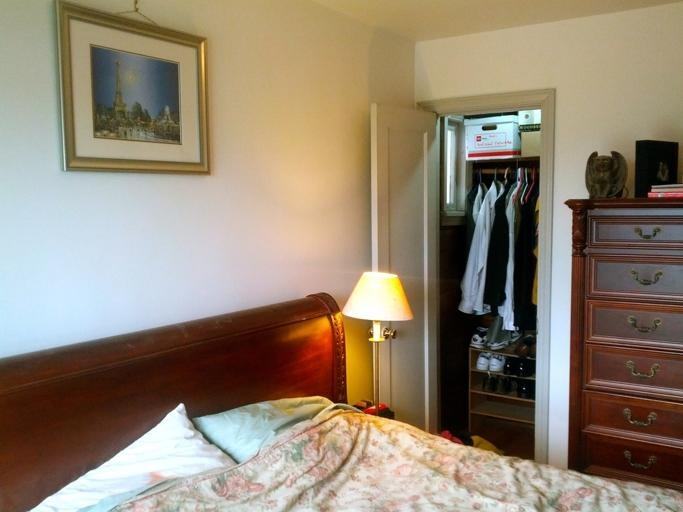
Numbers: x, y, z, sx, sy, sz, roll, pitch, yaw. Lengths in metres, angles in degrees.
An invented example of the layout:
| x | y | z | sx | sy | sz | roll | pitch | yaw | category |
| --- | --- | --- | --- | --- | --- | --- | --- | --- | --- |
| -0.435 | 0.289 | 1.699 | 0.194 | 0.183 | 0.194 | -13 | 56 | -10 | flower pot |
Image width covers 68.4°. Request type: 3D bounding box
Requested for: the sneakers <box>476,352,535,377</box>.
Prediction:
| x | y | z | sx | sy | sz | roll | pitch | yaw | category |
| --- | --- | --- | --- | --- | --- | --- | --- | --- | --- |
| 1.398 | 0.886 | 4.170 | 0.163 | 0.217 | 0.491 | 4 | 1 | 39 | sneakers |

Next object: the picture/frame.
| x | y | z | sx | sy | sz | roll | pitch | yaw | category |
| --- | --- | --- | --- | --- | --- | --- | --- | --- | --- |
| -0.902 | -0.711 | 2.104 | 0.054 | 0.780 | 0.785 | 0 | 3 | 43 | picture/frame |
